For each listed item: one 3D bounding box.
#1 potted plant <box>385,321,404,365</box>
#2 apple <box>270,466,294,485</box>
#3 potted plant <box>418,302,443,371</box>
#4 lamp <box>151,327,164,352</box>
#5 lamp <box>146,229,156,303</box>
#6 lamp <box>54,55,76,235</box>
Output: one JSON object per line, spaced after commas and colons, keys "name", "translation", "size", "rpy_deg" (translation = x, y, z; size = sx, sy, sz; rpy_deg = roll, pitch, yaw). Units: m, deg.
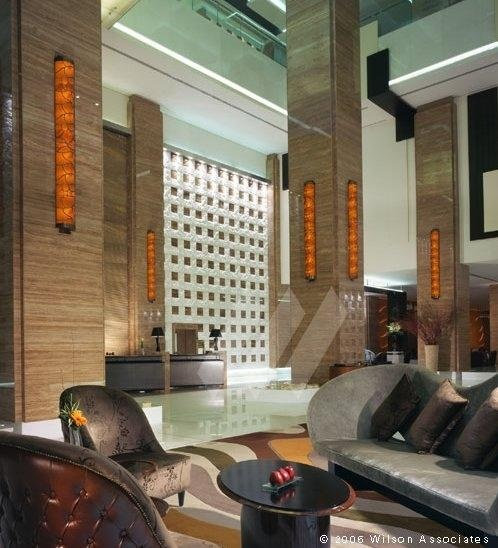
{"name": "potted plant", "translation": [4.632, 2.108, 15.539], "size": [0.568, 1.236, 2.013], "rpy_deg": [-4, -4, 17]}
{"name": "apple", "translation": [0.142, 0.832, 2.053], "size": [0.051, 0.061, 0.128], "rpy_deg": [-2, -10, 26]}
{"name": "potted plant", "translation": [4.057, 1.392, 10.861], "size": [0.598, 1.467, 1.942], "rpy_deg": [-4, -4, 19]}
{"name": "lamp", "translation": [-2.077, 1.479, 11.116], "size": [0.275, 0.543, 0.523], "rpy_deg": [-2, -4, -12]}
{"name": "lamp", "translation": [-2.263, -0.181, 11.272], "size": [0.204, 1.689, 0.280], "rpy_deg": [-2, -4, -8]}
{"name": "lamp", "translation": [-1.681, -1.177, 4.464], "size": [0.092, 1.623, 0.166], "rpy_deg": [-7, -5, 43]}
